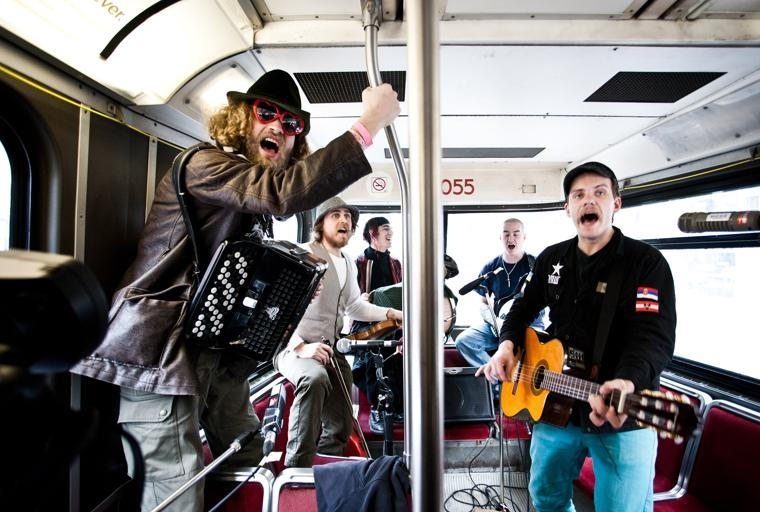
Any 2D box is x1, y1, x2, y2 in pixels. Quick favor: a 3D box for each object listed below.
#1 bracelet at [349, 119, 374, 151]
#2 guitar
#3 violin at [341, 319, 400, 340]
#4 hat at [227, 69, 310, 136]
[{"bbox_3d":[-0.097,-0.655,2.889,0.108,0.054,0.147,46,-2,17],"label":"bracelet"},{"bbox_3d":[1.353,0.949,3.812,0.232,0.685,1.578,11,3,-28],"label":"guitar"},{"bbox_3d":[-0.071,0.733,5.192,0.481,0.117,0.264,-15,-17,26],"label":"violin"},{"bbox_3d":[-0.755,-1.057,3.716,0.438,0.208,0.497,29,-12,-28],"label":"hat"}]
